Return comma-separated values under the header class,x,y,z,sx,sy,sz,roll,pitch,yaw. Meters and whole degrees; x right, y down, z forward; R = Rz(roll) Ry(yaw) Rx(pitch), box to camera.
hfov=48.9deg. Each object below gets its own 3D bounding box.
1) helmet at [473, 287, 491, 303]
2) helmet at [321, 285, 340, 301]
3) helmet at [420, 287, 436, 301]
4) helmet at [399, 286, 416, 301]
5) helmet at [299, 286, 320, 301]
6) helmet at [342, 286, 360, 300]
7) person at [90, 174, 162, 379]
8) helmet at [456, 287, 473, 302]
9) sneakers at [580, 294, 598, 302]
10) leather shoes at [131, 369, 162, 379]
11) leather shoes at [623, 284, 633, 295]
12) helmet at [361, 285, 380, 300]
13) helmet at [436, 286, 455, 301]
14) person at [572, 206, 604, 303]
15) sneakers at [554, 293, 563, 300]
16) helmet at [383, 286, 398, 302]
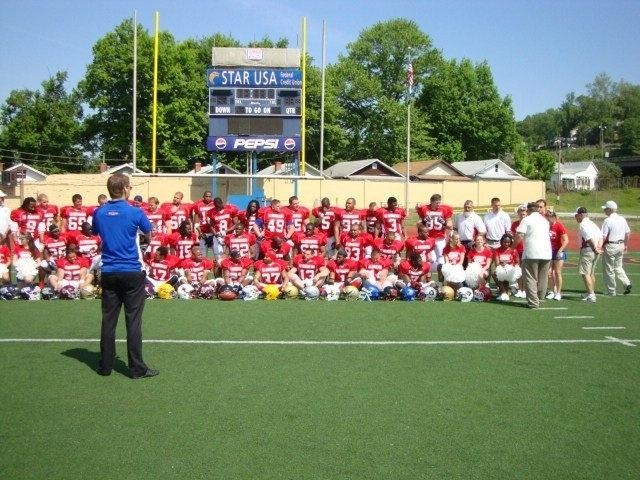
class,x,y,z,sx,sy,sz,roll,pitch,yaw
helmet,2.653,0.896,11.571,0.288,0.216,0.219,3,10,11
helmet,0.174,0.875,11.566,0.259,0.243,0.199,1,0,-26
helmet,1.788,0.872,11.605,0.187,0.236,0.172,-25,15,-22
helmet,1.441,0.874,11.641,0.232,0.196,0.206,13,41,16
helmet,-0.148,0.874,11.522,0.251,0.196,0.211,8,20,-7
helmet,0.508,0.861,11.612,0.246,0.198,0.206,7,8,-15
person,-2.109,0.374,7.566,0.606,2.113,0.739,-2,11,-17
helmet,2.369,0.901,11.536,0.200,0.261,0.184,1,14,-6
sneakers,4.446,0.967,11.665,0.094,0.115,0.242,-5,3,-5
leather shoes,-1.849,1.431,7.484,0.272,0.129,0.096,-4,12,-26
leather shoes,5.352,0.863,12.245,0.122,0.129,0.293,3,5,15
helmet,0.823,0.874,11.581,0.262,0.217,0.211,9,-32,12
helmet,2.073,0.900,11.641,0.237,0.195,0.186,24,41,-1
person,4.470,0.234,11.820,0.433,1.534,0.828,5,11,22
sneakers,3.999,0.968,11.872,0.089,0.078,0.157,-2,-4,7
helmet,1.146,0.871,11.629,0.188,0.251,0.223,3,9,39
